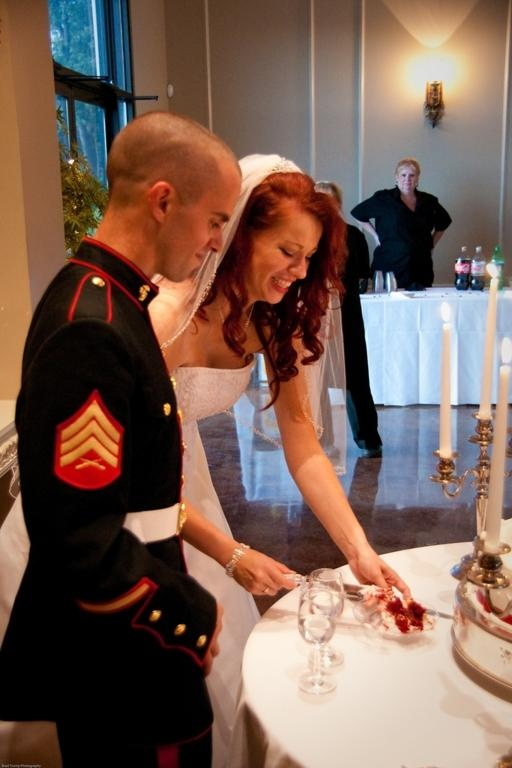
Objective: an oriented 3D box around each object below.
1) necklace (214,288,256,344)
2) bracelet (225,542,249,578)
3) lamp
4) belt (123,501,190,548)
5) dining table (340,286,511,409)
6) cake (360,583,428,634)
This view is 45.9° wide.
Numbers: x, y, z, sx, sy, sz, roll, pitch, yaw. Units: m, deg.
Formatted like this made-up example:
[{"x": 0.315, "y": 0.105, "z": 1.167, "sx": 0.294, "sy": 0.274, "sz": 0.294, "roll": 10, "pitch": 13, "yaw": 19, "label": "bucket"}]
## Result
[{"x": -0.061, "y": -0.180, "z": 1.579, "sx": 0.090, "sy": 0.125, "sz": 0.039, "roll": 6, "pitch": 6, "yaw": -2, "label": "necklace"}, {"x": -0.041, "y": 0.366, "z": 1.281, "sx": 0.027, "sy": 0.066, "sz": 0.054, "roll": 19, "pitch": -4, "yaw": -1, "label": "bracelet"}, {"x": 1.985, "y": -3.330, "z": 6.796, "sx": 0.527, "sy": 0.857, "sz": 0.148, "roll": 0, "pitch": 6, "yaw": 15, "label": "lamp"}, {"x": -0.153, "y": 0.212, "z": 0.910, "sx": 0.052, "sy": 0.035, "sz": 0.071, "roll": -6, "pitch": -4, "yaw": 13, "label": "belt"}, {"x": 1.420, "y": -0.300, "z": 4.996, "sx": 1.221, "sy": 0.767, "sz": 1.244, "roll": -1, "pitch": 12, "yaw": 2, "label": "dining table"}, {"x": 0.258, "y": 0.417, "z": 1.122, "sx": 0.053, "sy": 0.016, "sz": 0.078, "roll": -11, "pitch": 13, "yaw": -15, "label": "cake"}]
